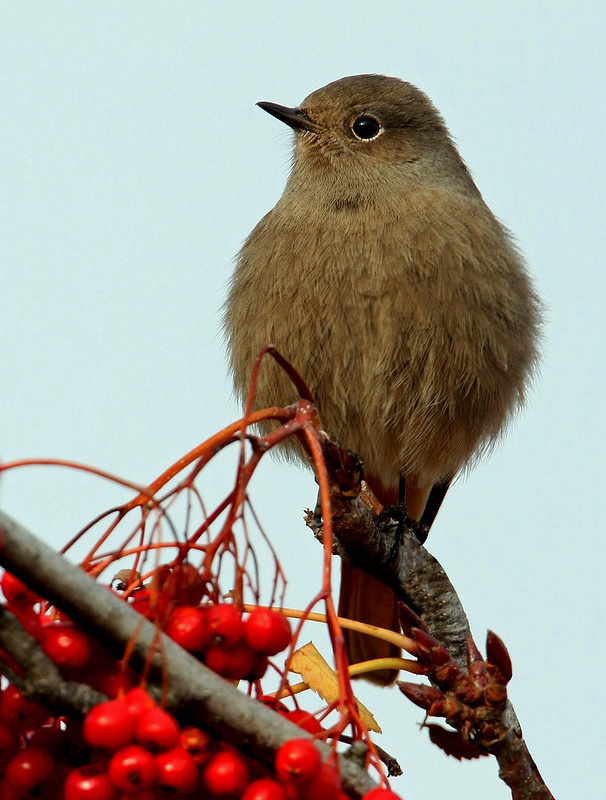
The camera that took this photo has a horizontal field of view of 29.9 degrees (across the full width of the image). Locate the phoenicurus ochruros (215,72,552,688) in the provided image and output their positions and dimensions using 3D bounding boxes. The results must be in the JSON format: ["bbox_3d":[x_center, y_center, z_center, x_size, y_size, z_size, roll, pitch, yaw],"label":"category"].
[{"bbox_3d":[0.451,-0.384,4.056,0.917,1.400,2.360,-3,-81,-16],"label":"phoenicurus ochruros"}]
